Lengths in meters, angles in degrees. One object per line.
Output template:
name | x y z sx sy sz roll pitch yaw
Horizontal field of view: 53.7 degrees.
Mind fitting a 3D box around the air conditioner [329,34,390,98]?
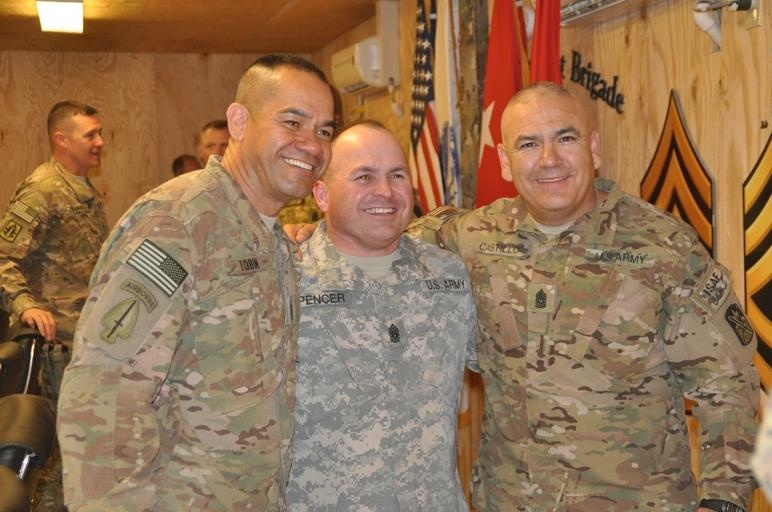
air conditioner | -0.245 -1.487 6.007 0.194 0.388 0.676 -8 9 -24
